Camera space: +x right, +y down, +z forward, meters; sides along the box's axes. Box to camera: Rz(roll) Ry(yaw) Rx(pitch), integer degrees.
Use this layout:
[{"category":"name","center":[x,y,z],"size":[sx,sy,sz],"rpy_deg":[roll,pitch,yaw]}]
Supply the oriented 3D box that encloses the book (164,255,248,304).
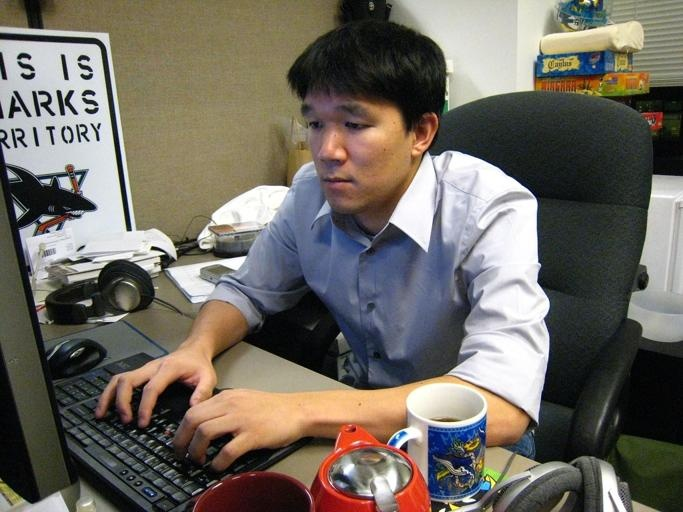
[{"category":"book","center":[-0.423,0.069,1.516],"size":[0.165,0.025,0.152],"rpy_deg":[-16,23,-31]}]

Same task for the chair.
[{"category":"chair","center":[0.281,-0.021,1.685],"size":[0.794,1.334,0.862],"rpy_deg":[18,11,33]}]

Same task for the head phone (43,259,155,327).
[{"category":"head phone","center":[-0.615,0.092,1.352],"size":[0.233,0.117,0.190],"rpy_deg":[-10,14,-24]}]

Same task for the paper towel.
[{"category":"paper towel","center":[0.973,-0.840,2.046],"size":[0.392,0.113,0.273],"rpy_deg":[2,17,15]}]

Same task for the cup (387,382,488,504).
[{"category":"cup","center":[0.142,0.259,0.799],"size":[0.182,0.136,0.108],"rpy_deg":[-16,22,-33]}]
